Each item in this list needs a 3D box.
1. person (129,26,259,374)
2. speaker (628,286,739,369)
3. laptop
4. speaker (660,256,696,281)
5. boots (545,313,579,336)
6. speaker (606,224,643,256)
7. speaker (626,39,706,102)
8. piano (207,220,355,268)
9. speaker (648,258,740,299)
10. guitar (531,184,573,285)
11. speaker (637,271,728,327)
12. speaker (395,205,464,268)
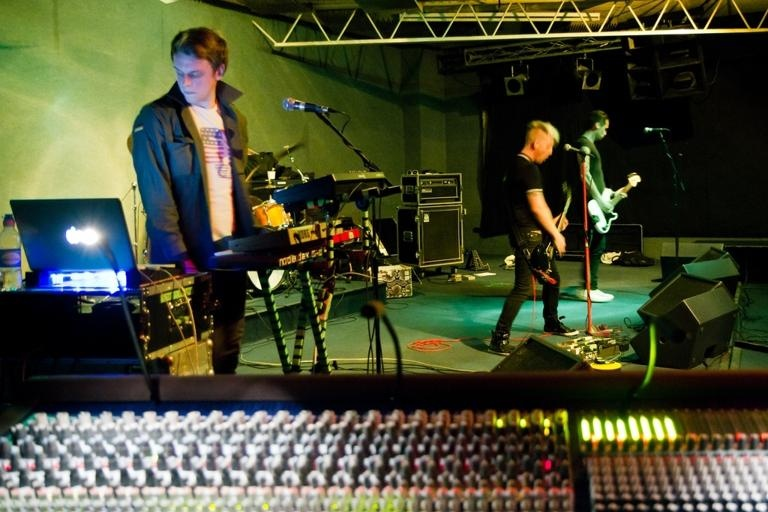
[{"bbox_3d":[-0.790,-0.202,2.978,0.518,1.523,0.410,-8,9,-21],"label":"person"},{"bbox_3d":[1.819,0.438,4.089,0.555,0.464,0.393,-3,9,-37],"label":"speaker"},{"bbox_3d":[-1.176,-0.053,2.807,0.559,0.395,0.482,1,2,13],"label":"laptop"},{"bbox_3d":[2.406,0.095,5.580,0.122,0.207,0.224,-1,-4,0],"label":"speaker"},{"bbox_3d":[1.408,0.552,5.358,0.340,0.191,0.121,-1,2,-1],"label":"boots"},{"bbox_3d":[3.602,-0.246,10.256,0.645,0.603,0.460,1,-5,11],"label":"speaker"},{"bbox_3d":[3.547,-2.345,8.724,0.809,0.597,0.785,-24,15,-34],"label":"speaker"},{"bbox_3d":[-0.419,-0.064,3.110,0.270,0.174,0.824,0,10,28],"label":"piano"},{"bbox_3d":[2.251,0.159,4.903,0.372,0.320,0.215,-3,11,-25],"label":"speaker"},{"bbox_3d":[1.159,-0.115,4.883,0.235,0.731,0.285,-3,9,15],"label":"guitar"},{"bbox_3d":[1.916,0.277,4.340,0.388,0.135,0.277,-28,-9,-32],"label":"speaker"},{"bbox_3d":[0.639,-0.165,9.217,1.110,1.014,0.750,0,-2,-40],"label":"speaker"}]
